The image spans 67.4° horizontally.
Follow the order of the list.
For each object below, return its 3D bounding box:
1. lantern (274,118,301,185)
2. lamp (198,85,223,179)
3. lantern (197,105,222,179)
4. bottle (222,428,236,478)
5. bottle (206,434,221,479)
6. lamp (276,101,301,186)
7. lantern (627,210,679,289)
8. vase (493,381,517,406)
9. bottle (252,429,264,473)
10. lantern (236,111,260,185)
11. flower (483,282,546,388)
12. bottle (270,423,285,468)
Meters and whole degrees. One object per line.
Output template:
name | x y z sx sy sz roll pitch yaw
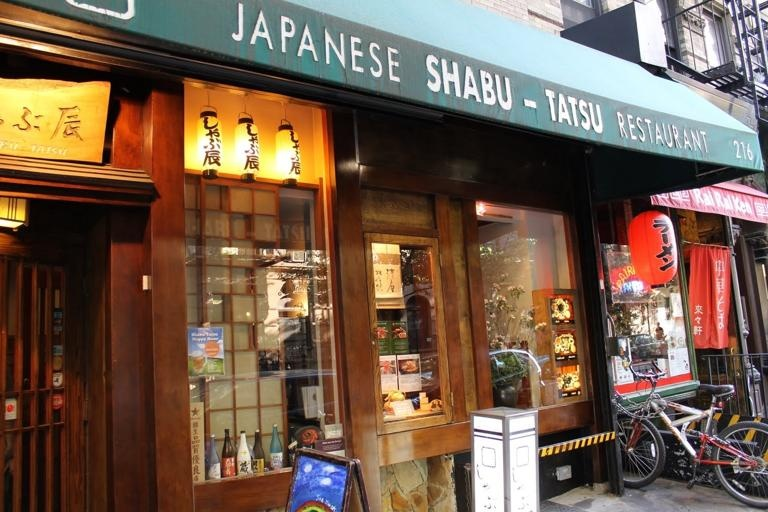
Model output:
lantern | -1.001 -1.088 6.019 0.268 0.680 0.121 -1 -8 -13
lamp | -1.737 -1.249 5.725 0.220 0.972 0.216 4 -18 -33
lantern | -1.707 -1.122 5.631 0.212 0.713 0.111 1 -9 -27
bottle | -1.480 1.863 5.475 0.132 0.426 0.055 -1 -8 -15
bottle | -1.600 1.887 5.411 0.119 0.388 0.047 -1 -8 -12
lamp | -1.045 -1.208 6.117 0.234 0.970 0.238 -9 -15 13
lantern | 3.761 -0.132 8.128 0.580 1.016 0.292 -7 -8 25
vase | 1.424 1.655 6.930 0.306 0.308 0.169 0 -6 -28
bottle | -1.218 1.887 5.586 0.128 0.387 0.105 -1 -8 -14
lantern | -1.376 -1.115 5.843 0.226 0.705 0.119 -1 -8 -15
flower | 1.703 0.826 7.247 0.397 0.793 0.348 -24 -30 2
bottle | -1.060 1.871 5.662 0.138 0.401 0.084 -1 -8 -13
